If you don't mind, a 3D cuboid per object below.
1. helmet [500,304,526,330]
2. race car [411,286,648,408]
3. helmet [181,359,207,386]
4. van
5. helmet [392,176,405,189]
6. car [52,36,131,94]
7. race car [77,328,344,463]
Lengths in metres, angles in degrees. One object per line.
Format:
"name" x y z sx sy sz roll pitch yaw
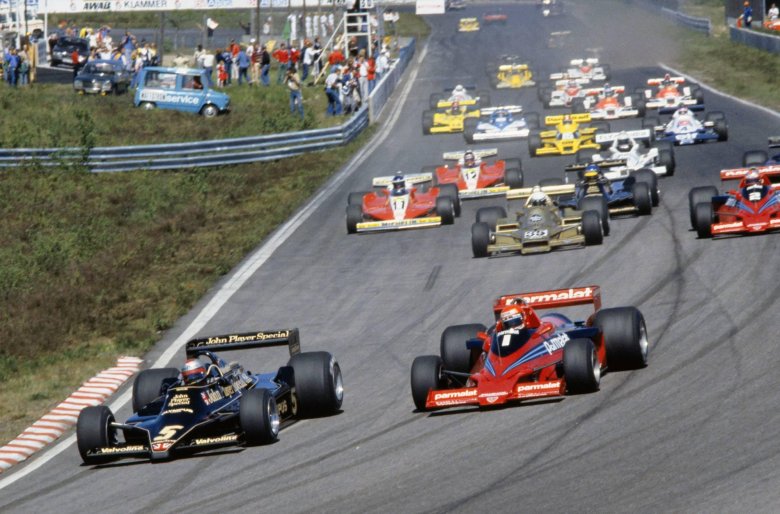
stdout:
"helmet" 3.075 1.423 39.243 0.461 0.544 0.590 -17 -12 11
"race car" 3.228 2.163 40.019 5.609 2.307 6.172 -8 4 28
"helmet" -4.756 2.672 38.373 0.469 0.607 0.619 -17 -13 -2
"van" -8.171 -6.483 63.531 3.076 1.827 2.085 1 12 5
"helmet" 0.270 -2.350 48.669 0.270 0.394 0.365 0 -1 2
"car" -12.750 -8.943 68.929 2.969 2.763 5.553 0 5 -3
"race car" -4.580 3.328 39.394 5.714 2.553 6.488 -8 3 15
